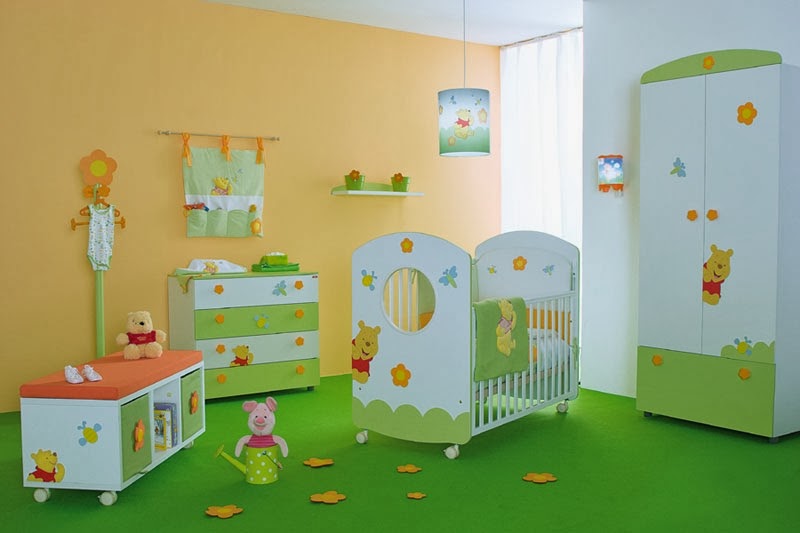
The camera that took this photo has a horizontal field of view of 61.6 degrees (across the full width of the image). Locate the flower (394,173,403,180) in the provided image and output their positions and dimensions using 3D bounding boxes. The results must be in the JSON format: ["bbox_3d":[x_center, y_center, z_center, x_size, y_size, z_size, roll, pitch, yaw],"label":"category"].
[{"bbox_3d":[-0.010,-0.884,6.623,0.061,0.039,0.083,-3,28,6],"label":"flower"}]

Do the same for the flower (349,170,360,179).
[{"bbox_3d":[-0.432,-0.867,6.390,0.094,0.090,0.097,-1,3,18],"label":"flower"}]

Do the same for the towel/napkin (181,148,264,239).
[{"bbox_3d":[-1.619,-0.654,6.006,0.800,0.845,0.058,-1,2,-29],"label":"towel/napkin"}]

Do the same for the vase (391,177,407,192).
[{"bbox_3d":[-0.002,-0.806,6.578,0.150,0.109,0.122,0,0,-3],"label":"vase"}]

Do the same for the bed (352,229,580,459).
[{"bbox_3d":[0.545,0.483,5.337,1.336,1.446,1.797,0,1,31],"label":"bed"}]

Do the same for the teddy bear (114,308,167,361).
[{"bbox_3d":[-1.820,0.480,4.737,0.327,0.337,0.221,-1,9,-26],"label":"teddy bear"}]

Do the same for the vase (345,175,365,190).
[{"bbox_3d":[-0.428,-0.788,6.338,0.150,0.104,0.134,-1,1,3],"label":"vase"}]

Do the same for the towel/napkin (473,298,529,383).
[{"bbox_3d":[0.701,0.498,4.738,0.501,0.525,0.159,-1,4,-37],"label":"towel/napkin"}]

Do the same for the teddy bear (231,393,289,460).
[{"bbox_3d":[-0.984,1.134,4.728,0.458,0.584,0.213,1,-1,-5],"label":"teddy bear"}]
